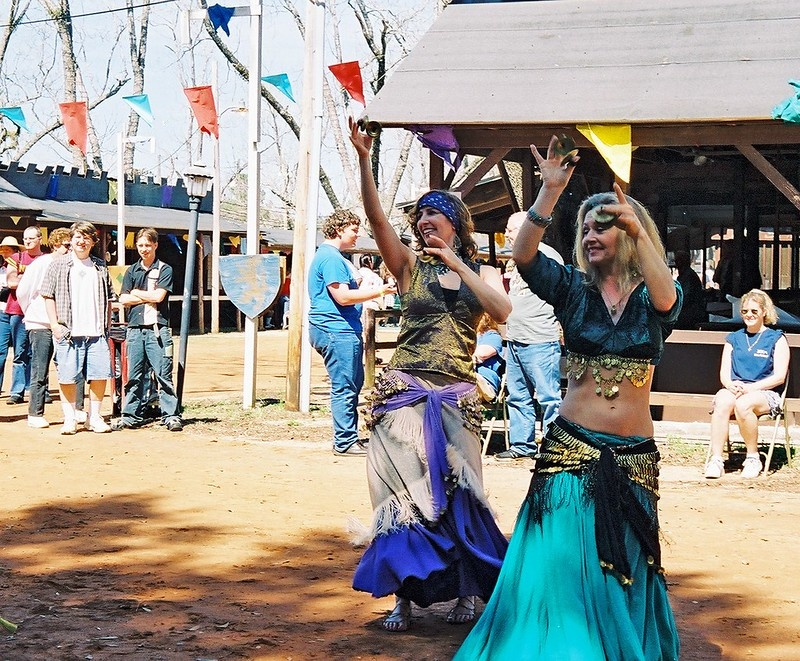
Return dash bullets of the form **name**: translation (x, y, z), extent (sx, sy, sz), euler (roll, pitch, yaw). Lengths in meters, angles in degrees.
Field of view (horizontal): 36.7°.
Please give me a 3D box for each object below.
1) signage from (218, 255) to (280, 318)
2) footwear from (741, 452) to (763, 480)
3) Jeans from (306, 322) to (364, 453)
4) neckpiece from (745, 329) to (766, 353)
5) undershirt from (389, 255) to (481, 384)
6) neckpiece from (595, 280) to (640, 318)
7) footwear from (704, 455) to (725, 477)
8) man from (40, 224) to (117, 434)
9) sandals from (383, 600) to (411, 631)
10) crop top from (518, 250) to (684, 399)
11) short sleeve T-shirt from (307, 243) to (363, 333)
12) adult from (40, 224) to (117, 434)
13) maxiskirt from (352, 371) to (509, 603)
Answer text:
- **signage**: translation (-1.660, -0.479, 13.333), extent (0.672, 0.730, 0.409), euler (0, 6, -8)
- **footwear**: translation (3.136, 1.190, 10.763), extent (0.169, 0.203, 0.273), euler (3, 7, 16)
- **Jeans**: translation (-0.642, 0.576, 11.887), extent (0.572, 1.630, 0.743), euler (-3, 19, 0)
- **neckpiece**: translation (3.191, 0.086, 10.865), extent (0.123, 0.168, 0.042), euler (-6, -34, 47)
- **undershirt**: translation (0.241, -0.110, 7.176), extent (0.554, 0.740, 0.389), euler (7, -3, -6)
- **neckpiece**: translation (1.127, -0.160, 6.206), extent (0.223, 0.175, 0.061), euler (5, 4, 6)
- **footwear**: translation (2.789, 1.202, 10.718), extent (0.156, 0.184, 0.228), euler (2, 6, 14)
- **man**: translation (-3.242, -0.006, 12.156), extent (0.725, 2.162, 0.520), euler (-4, 8, -37)
- **sandals**: translation (-0.020, 1.619, 7.021), extent (0.171, 0.162, 0.256), euler (1, 6, -1)
- **crop top**: translation (1.057, -0.063, 6.246), extent (0.763, 0.588, 0.435), euler (5, -5, 10)
- **short sleeve T-shirt**: translation (-0.594, -0.389, 11.262), extent (0.500, 0.872, 0.873), euler (-1, 0, -5)
- **adult**: translation (-3.243, -0.006, 12.158), extent (0.725, 2.162, 0.530), euler (-4, 8, -38)
- **maxiskirt**: translation (0.264, 0.805, 7.084), extent (0.804, 1.547, 0.425), euler (0, -28, -3)
